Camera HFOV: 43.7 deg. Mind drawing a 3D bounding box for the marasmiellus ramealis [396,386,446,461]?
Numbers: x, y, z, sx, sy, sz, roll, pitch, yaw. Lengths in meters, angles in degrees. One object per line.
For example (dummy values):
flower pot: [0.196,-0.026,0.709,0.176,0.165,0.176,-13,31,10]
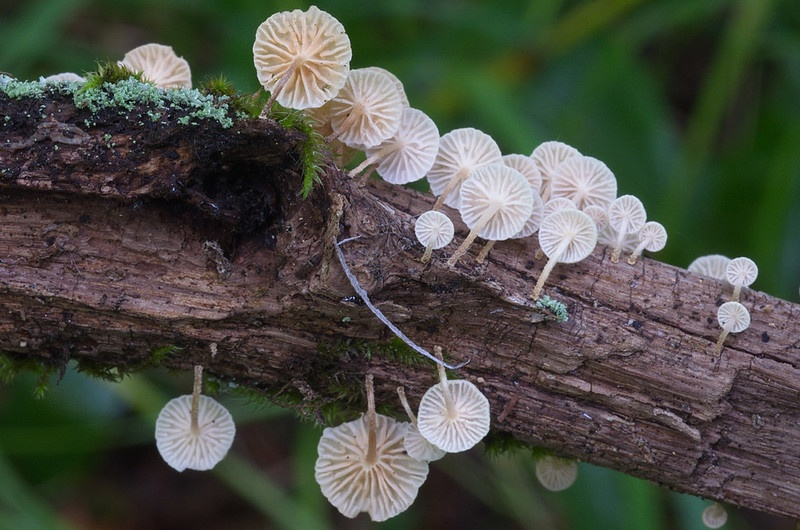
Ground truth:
marasmiellus ramealis: [0.178,1.270,8.081,0.396,0.475,0.672,-7,24,-14]
